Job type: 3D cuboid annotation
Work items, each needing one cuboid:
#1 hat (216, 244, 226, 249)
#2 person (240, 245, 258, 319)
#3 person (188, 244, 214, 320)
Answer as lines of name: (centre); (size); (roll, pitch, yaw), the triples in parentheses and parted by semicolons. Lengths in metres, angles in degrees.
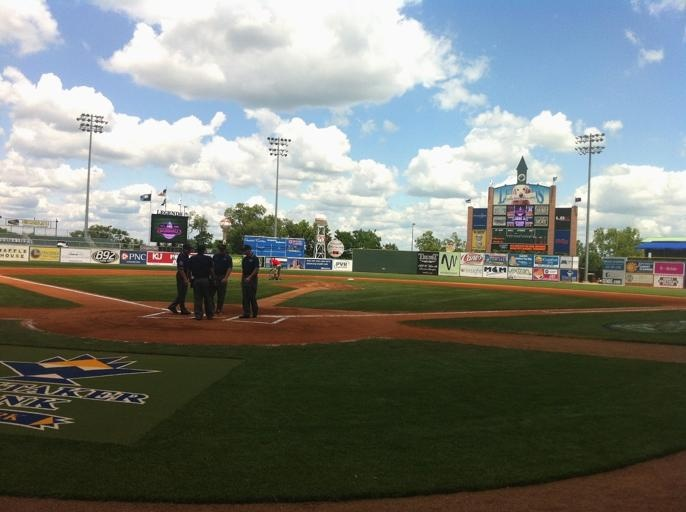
hat: (-3.019, -0.233, 15.773); (0.227, 0.143, 0.220); (1, -3, -3)
person: (-2.350, 0.654, 16.186); (0.433, 1.436, 1.068); (1, 1, -8)
person: (-3.494, 0.633, 15.620); (0.632, 1.370, 0.586); (1, 1, -12)
